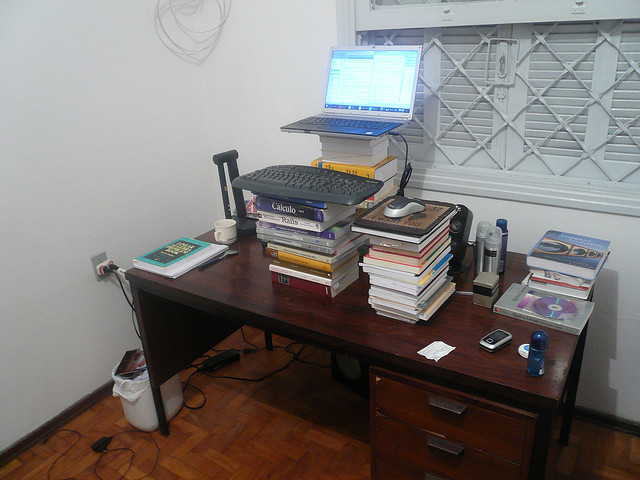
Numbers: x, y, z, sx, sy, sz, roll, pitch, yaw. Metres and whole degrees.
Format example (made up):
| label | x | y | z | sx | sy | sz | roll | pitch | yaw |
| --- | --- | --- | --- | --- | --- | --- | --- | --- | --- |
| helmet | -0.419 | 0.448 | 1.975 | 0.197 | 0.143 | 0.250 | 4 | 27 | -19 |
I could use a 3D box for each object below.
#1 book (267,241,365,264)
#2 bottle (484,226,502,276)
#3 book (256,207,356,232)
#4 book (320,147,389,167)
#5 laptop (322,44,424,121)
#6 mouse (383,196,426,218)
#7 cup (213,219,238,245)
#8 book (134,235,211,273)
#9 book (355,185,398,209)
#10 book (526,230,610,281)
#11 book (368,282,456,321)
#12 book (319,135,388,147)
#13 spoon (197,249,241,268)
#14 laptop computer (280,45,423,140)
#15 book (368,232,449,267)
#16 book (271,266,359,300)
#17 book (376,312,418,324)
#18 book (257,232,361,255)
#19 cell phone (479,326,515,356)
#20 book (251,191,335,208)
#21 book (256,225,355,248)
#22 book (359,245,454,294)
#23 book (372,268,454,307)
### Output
| label | x | y | z | sx | sy | sz | roll | pitch | yaw |
| --- | --- | --- | --- | --- | --- | --- | --- | --- | --- |
| book | -0.059 | 0.046 | 1.856 | 0.152 | 0.020 | 0.162 | 11 | 20 | 30 |
| bottle | 0.686 | 0.050 | 1.854 | 0.069 | 0.202 | 0.063 | -2 | 17 | 1 |
| book | -0.096 | -0.073 | 1.865 | 0.182 | 0.034 | 0.187 | 14 | 23 | 32 |
| book | 0.151 | -0.369 | 2.093 | 0.158 | 0.032 | 0.152 | 10 | 25 | 24 |
| laptop | 0.306 | -0.767 | 2.273 | 0.567 | 0.360 | 0.330 | 13 | 34 | 24 |
| mouse | 0.312 | -0.133 | 1.733 | 0.135 | 0.039 | 0.079 | -17 | 26 | -34 |
| cup | -0.455 | -0.039 | 2.249 | 0.091 | 0.087 | 0.133 | 10 | 26 | 18 |
| book | -0.686 | 0.068 | 2.146 | 0.245 | 0.040 | 0.264 | 14 | 32 | 40 |
| book | 0.253 | -0.186 | 2.103 | 0.153 | 0.032 | 0.149 | 8 | 25 | 29 |
| book | 0.960 | 0.052 | 1.809 | 0.321 | 0.045 | 0.294 | -6 | 31 | 2 |
| book | 0.395 | 0.218 | 1.708 | 0.167 | 0.024 | 0.184 | 12 | 32 | 44 |
| book | 0.116 | -0.430 | 2.046 | 0.142 | 0.017 | 0.122 | 9 | 23 | 21 |
| spoon | -0.465 | 0.079 | 2.110 | 0.066 | 0.016 | 0.184 | 15 | 25 | 35 |
| laptop computer | 0.146 | -0.665 | 2.096 | 0.506 | 0.361 | 0.423 | 16 | 32 | 31 |
| book | 0.272 | 0.043 | 1.646 | 0.134 | 0.019 | 0.146 | 14 | 30 | 39 |
| book | -0.036 | 0.150 | 1.880 | 0.186 | 0.038 | 0.181 | 10 | 20 | 30 |
| book | 0.288 | 0.282 | 1.678 | 0.071 | 0.014 | 0.048 | 12 | 11 | 25 |
| book | -0.060 | 0.014 | 1.864 | 0.166 | 0.021 | 0.175 | 12 | 19 | 29 |
| cell phone | 0.583 | 0.328 | 1.550 | 0.116 | 0.024 | 0.062 | -24 | 29 | -33 |
| book | -0.098 | -0.154 | 1.821 | 0.128 | 0.024 | 0.132 | 14 | 22 | 29 |
| book | -0.094 | -0.013 | 1.857 | 0.170 | 0.021 | 0.160 | 11 | 19 | 22 |
| book | 0.268 | 0.084 | 1.667 | 0.200 | 0.042 | 0.198 | -23 | 25 | -38 |
| book | 0.292 | 0.157 | 1.667 | 0.150 | 0.023 | 0.179 | 8 | 21 | 34 |
